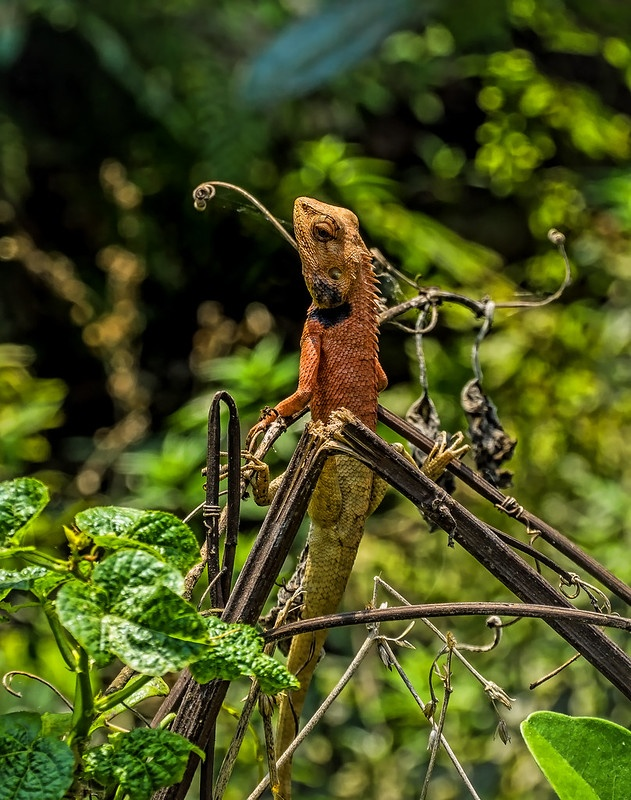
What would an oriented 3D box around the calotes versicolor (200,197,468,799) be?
[{"bbox_3d":[0.042,0.184,2.541,0.278,0.522,1.258,-4,80,20],"label":"calotes versicolor"}]
